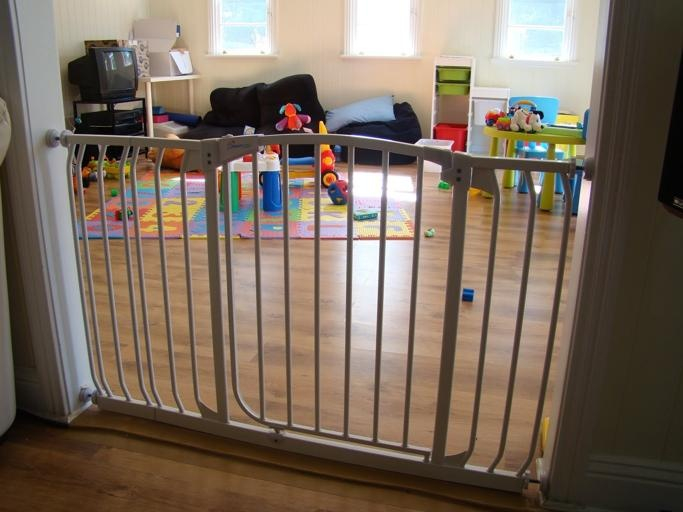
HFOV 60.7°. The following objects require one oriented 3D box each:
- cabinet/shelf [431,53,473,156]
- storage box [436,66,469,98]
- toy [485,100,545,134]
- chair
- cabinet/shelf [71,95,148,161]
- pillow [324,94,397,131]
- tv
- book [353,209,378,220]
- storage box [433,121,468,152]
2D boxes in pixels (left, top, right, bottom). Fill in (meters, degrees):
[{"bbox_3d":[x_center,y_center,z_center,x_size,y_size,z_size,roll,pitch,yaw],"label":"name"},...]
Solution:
[{"bbox_3d":[1.350,-1.649,6.428,0.686,1.084,0.716,3,19,11],"label":"cabinet/shelf"},{"bbox_3d":[1.171,-1.847,6.127,0.237,0.142,0.359,3,28,6],"label":"storage box"},{"bbox_3d":[1.381,-1.059,4.531,0.477,0.228,0.266,-7,21,-32],"label":"toy"},{"bbox_3d":[1.592,-0.788,4.592,0.567,0.779,0.824,4,20,16],"label":"chair"},{"bbox_3d":[-2.283,-1.272,5.844,0.429,0.594,0.602,5,20,16],"label":"cabinet/shelf"},{"bbox_3d":[0.209,-1.545,6.278,0.506,0.142,0.496,-12,36,6],"label":"pillow"},{"bbox_3d":[-2.216,-1.715,5.702,0.579,0.587,0.600,9,21,16],"label":"tv"},{"bbox_3d":[0.184,-0.306,4.364,0.176,0.065,0.158,-1,20,2],"label":"book"},{"bbox_3d":[1.162,-1.282,6.245,0.349,0.250,0.564,2,20,9],"label":"storage box"}]
